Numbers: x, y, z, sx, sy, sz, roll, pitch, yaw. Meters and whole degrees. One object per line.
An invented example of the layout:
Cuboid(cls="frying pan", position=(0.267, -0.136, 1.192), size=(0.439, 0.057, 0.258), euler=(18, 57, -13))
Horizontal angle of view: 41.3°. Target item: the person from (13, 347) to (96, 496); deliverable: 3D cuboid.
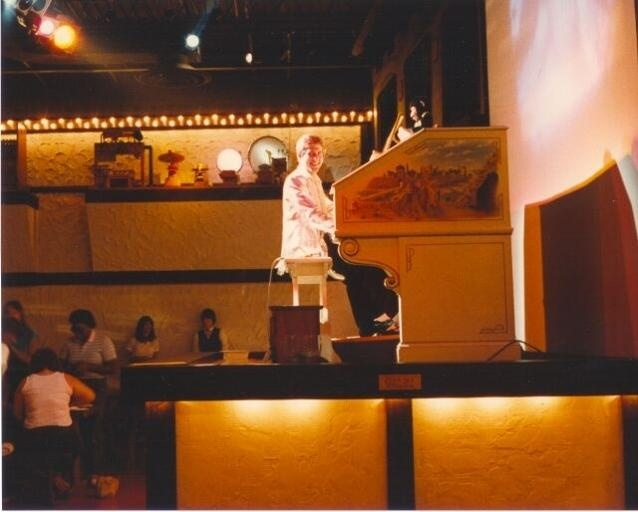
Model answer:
Cuboid(cls="person", position=(-2.509, 1.526, 7.749), size=(0.524, 1.359, 0.279), euler=(1, -6, -23))

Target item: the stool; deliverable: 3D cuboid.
Cuboid(cls="stool", position=(-0.077, 0.393, 7.605), size=(0.430, 0.851, 0.530), euler=(0, 8, 5))

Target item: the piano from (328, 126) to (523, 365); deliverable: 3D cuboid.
Cuboid(cls="piano", position=(0.795, 0.005, 6.788), size=(1.431, 2.021, 1.398), euler=(0, -5, 7))

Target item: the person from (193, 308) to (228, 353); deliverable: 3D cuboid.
Cuboid(cls="person", position=(-1.238, 0.863, 9.730), size=(0.322, 0.844, 0.258), euler=(-4, -20, -2))
